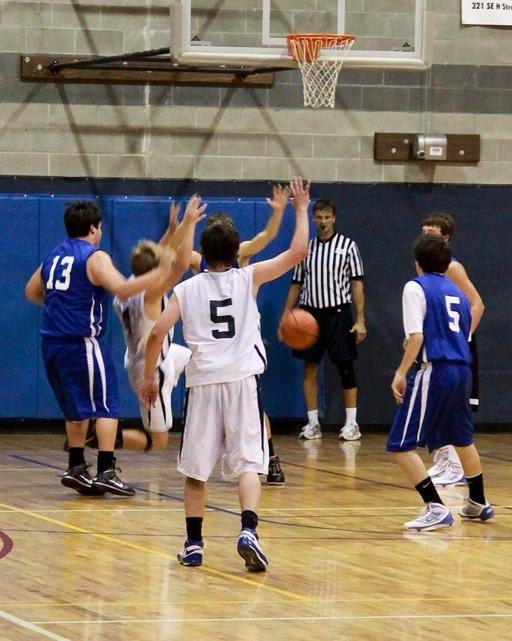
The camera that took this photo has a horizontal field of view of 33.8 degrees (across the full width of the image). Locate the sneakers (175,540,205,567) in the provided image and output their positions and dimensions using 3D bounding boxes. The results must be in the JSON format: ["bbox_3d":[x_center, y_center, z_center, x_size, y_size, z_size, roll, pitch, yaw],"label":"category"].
[{"bbox_3d":[-0.240,0.872,3.163,0.047,0.067,0.138,1,0,-9],"label":"sneakers"}]

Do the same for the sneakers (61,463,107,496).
[{"bbox_3d":[-0.910,0.876,4.680,0.111,0.177,0.338,-14,-27,37],"label":"sneakers"}]

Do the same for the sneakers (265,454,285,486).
[{"bbox_3d":[0.117,0.927,5.210,0.077,0.112,0.245,-1,-1,-6],"label":"sneakers"}]

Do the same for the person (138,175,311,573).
[{"bbox_3d":[-0.123,0.222,3.203,0.551,1.469,0.542,3,10,35],"label":"person"}]

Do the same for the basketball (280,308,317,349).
[{"bbox_3d":[0.300,0.063,6.252,0.249,0.331,0.255,-2,-5,-34],"label":"basketball"}]

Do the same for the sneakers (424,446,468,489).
[{"bbox_3d":[1.134,0.922,5.308,0.128,0.292,0.379,-1,0,-20],"label":"sneakers"}]

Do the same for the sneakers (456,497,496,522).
[{"bbox_3d":[1.075,0.927,4.195,0.077,0.116,0.214,-24,7,-16],"label":"sneakers"}]

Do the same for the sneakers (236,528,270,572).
[{"bbox_3d":[-0.010,0.821,3.011,0.074,0.108,0.221,-8,-38,15],"label":"sneakers"}]

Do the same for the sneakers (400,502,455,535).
[{"bbox_3d":[0.805,0.911,3.907,0.274,0.154,0.101,-4,-8,-10],"label":"sneakers"}]

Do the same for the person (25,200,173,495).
[{"bbox_3d":[-0.916,0.172,4.750,0.715,1.649,0.570,5,8,25],"label":"person"}]

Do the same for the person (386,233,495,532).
[{"bbox_3d":[0.825,0.318,3.948,0.575,1.424,0.314,-8,9,-33],"label":"person"}]

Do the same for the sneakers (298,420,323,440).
[{"bbox_3d":[0.482,0.982,7.531,0.093,0.124,0.253,-4,-11,21],"label":"sneakers"}]
